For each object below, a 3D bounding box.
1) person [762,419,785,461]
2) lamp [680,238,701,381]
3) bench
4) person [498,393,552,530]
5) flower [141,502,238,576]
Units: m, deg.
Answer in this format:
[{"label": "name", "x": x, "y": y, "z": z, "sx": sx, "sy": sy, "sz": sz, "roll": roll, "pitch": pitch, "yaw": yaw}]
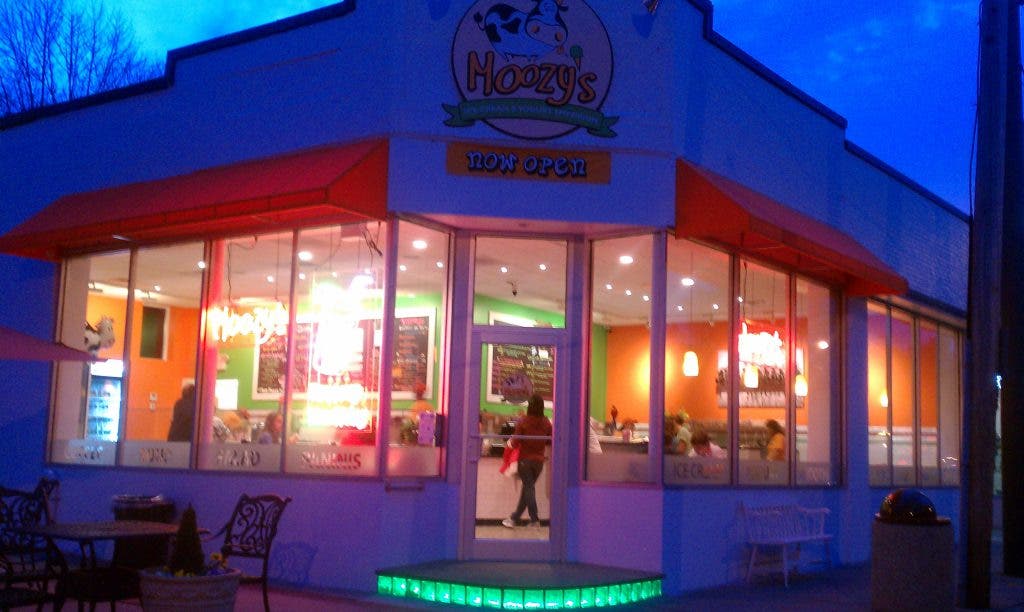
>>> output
[{"label": "person", "x": 4.782, "y": 2.474, "z": 16.551, "sx": 0.179, "sy": 0.734, "sz": 0.721, "roll": -8, "pitch": -15, "yaw": 39}, {"label": "lamp", "x": 3.030, "y": 0.120, "z": 15.599, "sx": 0.265, "sy": 2.211, "sz": 0.522, "roll": -1, "pitch": -12, "yaw": 12}, {"label": "bench", "x": 4.896, "y": 4.289, "z": 16.119, "sx": 0.842, "sy": 1.375, "sz": 2.327, "roll": -7, "pitch": -15, "yaw": 37}, {"label": "person", "x": 0.224, "y": 2.621, "z": 15.168, "sx": 0.713, "sy": 2.254, "sz": 0.290, "roll": 5, "pitch": -13, "yaw": -12}, {"label": "flower", "x": -4.225, "y": 3.256, "z": 12.020, "sx": 1.158, "sy": 1.243, "sz": 1.166, "roll": 1, "pitch": -5, "yaw": -3}]
